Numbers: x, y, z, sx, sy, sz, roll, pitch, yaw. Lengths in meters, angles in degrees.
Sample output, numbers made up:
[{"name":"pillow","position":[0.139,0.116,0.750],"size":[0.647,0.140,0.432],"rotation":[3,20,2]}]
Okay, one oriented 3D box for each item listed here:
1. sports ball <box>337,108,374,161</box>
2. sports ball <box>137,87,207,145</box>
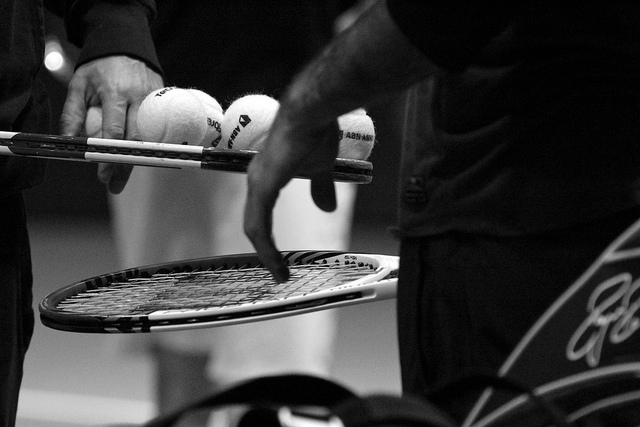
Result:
[{"name":"sports ball","position":[0.071,-0.153,1.365],"size":[0.076,0.100,0.103],"rotation":[2,9,-19]},{"name":"sports ball","position":[-0.280,-0.180,1.362],"size":[0.110,0.111,0.111],"rotation":[16,13,-4]}]
